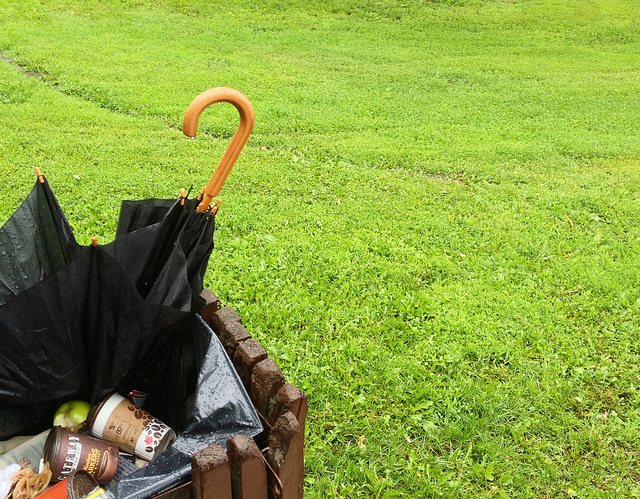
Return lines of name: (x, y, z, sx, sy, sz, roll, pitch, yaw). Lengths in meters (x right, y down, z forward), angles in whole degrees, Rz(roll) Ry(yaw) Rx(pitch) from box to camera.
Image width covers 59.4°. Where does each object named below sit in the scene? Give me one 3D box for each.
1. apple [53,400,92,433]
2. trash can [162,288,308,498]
apple: (-1.620, 1.115, 3.712, 0.192, 0.210, 0.209, -12, -15, 22)
trash can: (-0.484, 0.846, 3.410, 0.843, 0.427, 1.129, -16, 47, -14)
